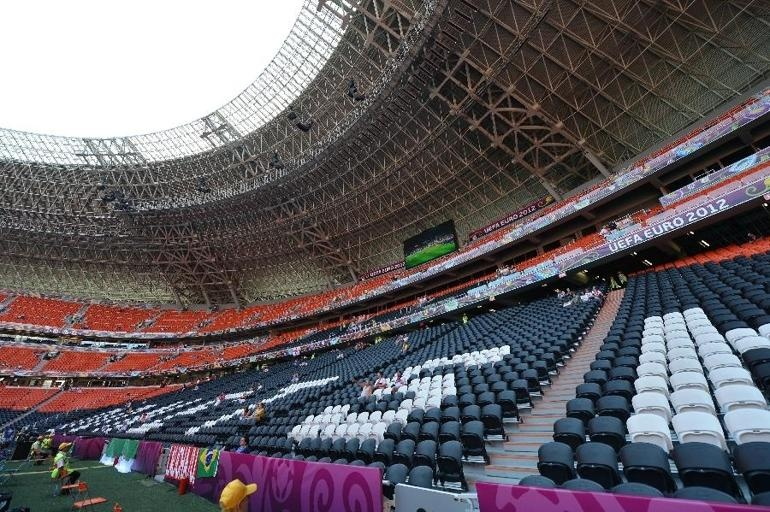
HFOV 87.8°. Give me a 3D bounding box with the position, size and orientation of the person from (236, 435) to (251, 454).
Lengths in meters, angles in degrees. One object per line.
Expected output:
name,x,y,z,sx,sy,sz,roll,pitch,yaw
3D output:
person,-5.678,7.645,16.068,0.507,0.758,0.769,12,-29,-20

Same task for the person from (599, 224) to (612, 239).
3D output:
person,13.257,-1.392,24.074,0.815,0.336,1.051,-3,20,41
